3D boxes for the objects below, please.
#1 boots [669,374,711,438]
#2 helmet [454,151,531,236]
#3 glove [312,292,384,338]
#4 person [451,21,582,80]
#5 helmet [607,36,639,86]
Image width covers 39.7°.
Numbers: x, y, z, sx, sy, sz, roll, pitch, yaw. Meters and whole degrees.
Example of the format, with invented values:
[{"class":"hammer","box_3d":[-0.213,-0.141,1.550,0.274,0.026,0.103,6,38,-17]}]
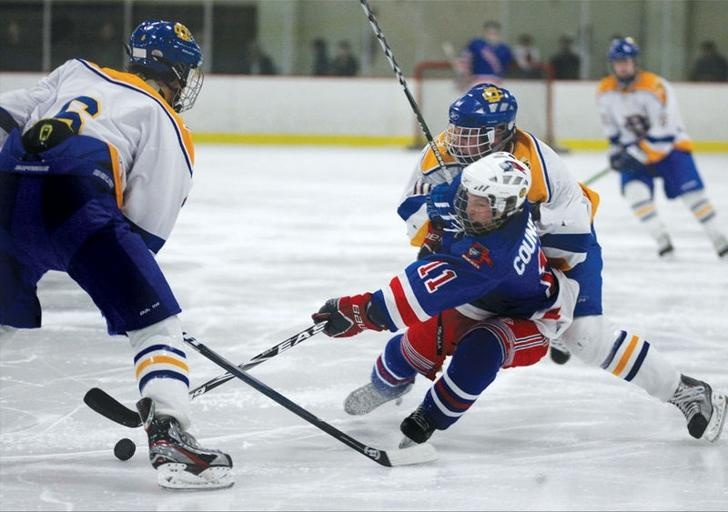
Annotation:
[{"class":"boots","box_3d":[1.101,0.495,3.315,0.109,0.192,0.138,-3,11,-20]},{"class":"helmet","box_3d":[0.375,-0.205,3.305,0.299,0.246,0.195,-8,48,-6]},{"class":"glove","box_3d":[-0.053,0.192,3.308,0.233,0.114,0.091,-18,3,32]},{"class":"person","box_3d":[1.903,-2.550,12.624,1.550,0.694,0.583,-2,11,-18]},{"class":"helmet","box_3d":[1.638,-1.218,6.301,0.177,0.295,0.278,3,10,12]}]
